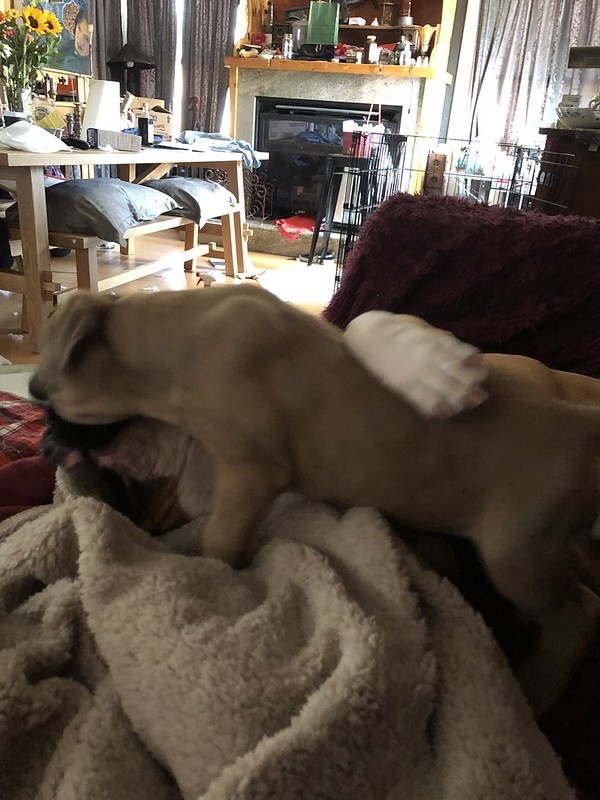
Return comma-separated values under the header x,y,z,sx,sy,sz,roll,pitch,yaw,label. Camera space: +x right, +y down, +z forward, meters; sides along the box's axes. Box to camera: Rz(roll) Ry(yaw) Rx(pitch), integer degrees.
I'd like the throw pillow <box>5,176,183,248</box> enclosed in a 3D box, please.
x,y,z,sx,sy,sz,roll,pitch,yaw,label
-0.820,-0.811,2.587,0.390,0.134,0.476,12,25,21,throw pillow

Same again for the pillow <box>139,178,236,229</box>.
x,y,z,sx,sy,sz,roll,pitch,yaw,label
-0.670,-1.176,3.389,0.399,0.119,0.379,27,42,20,pillow

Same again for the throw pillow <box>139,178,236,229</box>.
x,y,z,sx,sy,sz,roll,pitch,yaw,label
-0.649,-1.171,3.390,0.399,0.119,0.379,27,42,20,throw pillow

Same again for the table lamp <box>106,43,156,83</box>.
x,y,z,sx,sy,sz,roll,pitch,yaw,label
-1.552,-3.120,5.498,0.435,0.289,0.376,1,23,-17,table lamp

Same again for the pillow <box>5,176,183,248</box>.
x,y,z,sx,sy,sz,roll,pitch,yaw,label
-0.813,-0.818,2.598,0.390,0.134,0.476,12,25,21,pillow
